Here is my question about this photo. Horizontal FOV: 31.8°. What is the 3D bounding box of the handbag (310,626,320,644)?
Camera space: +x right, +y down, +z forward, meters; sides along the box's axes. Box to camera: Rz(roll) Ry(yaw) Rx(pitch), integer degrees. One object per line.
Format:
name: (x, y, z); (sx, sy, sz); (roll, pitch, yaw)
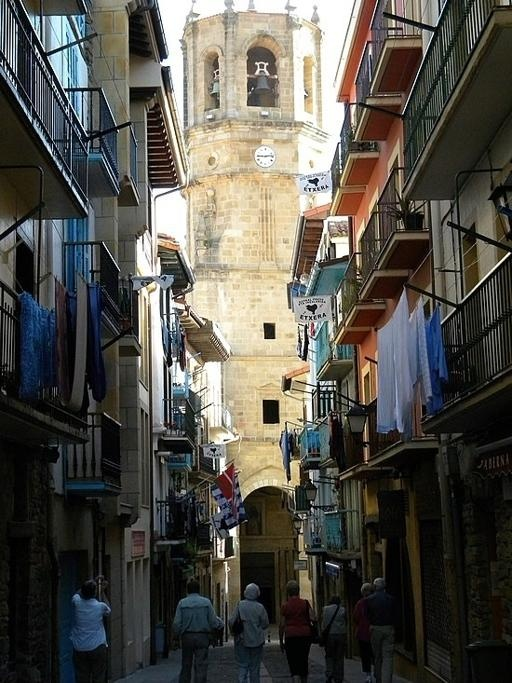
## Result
handbag: (0.698, 3.531, 10.859); (0.084, 0.243, 0.119); (-8, 21, -13)

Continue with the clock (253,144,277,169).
clock: (0.497, -11.359, 55.354); (0.861, 1.466, 0.163); (6, -13, -8)

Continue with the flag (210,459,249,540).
flag: (-0.985, 5.697, 32.691); (1.007, 2.972, 2.402); (-3, -16, 6)
